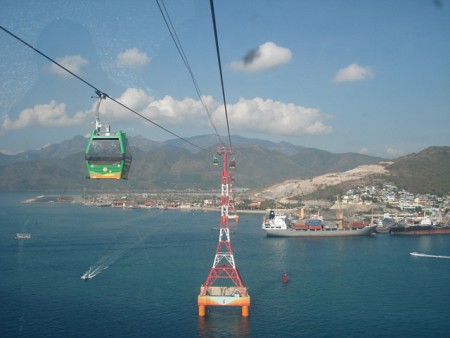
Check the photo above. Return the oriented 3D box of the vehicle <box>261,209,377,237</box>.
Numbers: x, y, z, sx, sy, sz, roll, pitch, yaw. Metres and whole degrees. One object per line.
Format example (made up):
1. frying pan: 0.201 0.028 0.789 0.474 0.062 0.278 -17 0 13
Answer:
1. vehicle: 22.593 12.723 94.512 26.005 5.685 5.696 -1 0 5

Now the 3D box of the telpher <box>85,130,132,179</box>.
1. telpher: -9.544 -1.148 33.795 3.216 3.763 3.937 0 1 -2
